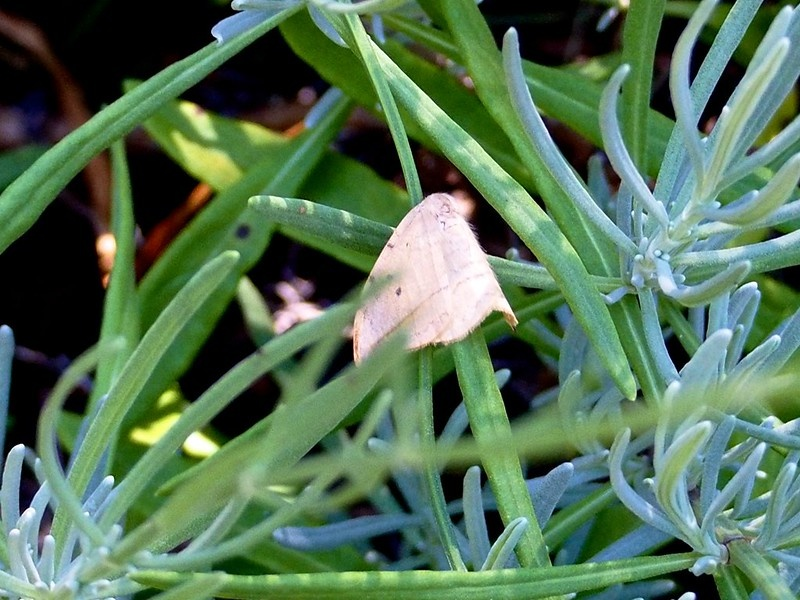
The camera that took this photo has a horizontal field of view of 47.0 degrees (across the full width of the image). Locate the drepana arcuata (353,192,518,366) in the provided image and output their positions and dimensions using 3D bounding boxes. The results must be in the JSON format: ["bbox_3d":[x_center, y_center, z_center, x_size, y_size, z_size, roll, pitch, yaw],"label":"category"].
[{"bbox_3d":[0.023,-0.011,0.643,0.120,0.108,0.043,-1,-1,4],"label":"drepana arcuata"}]
